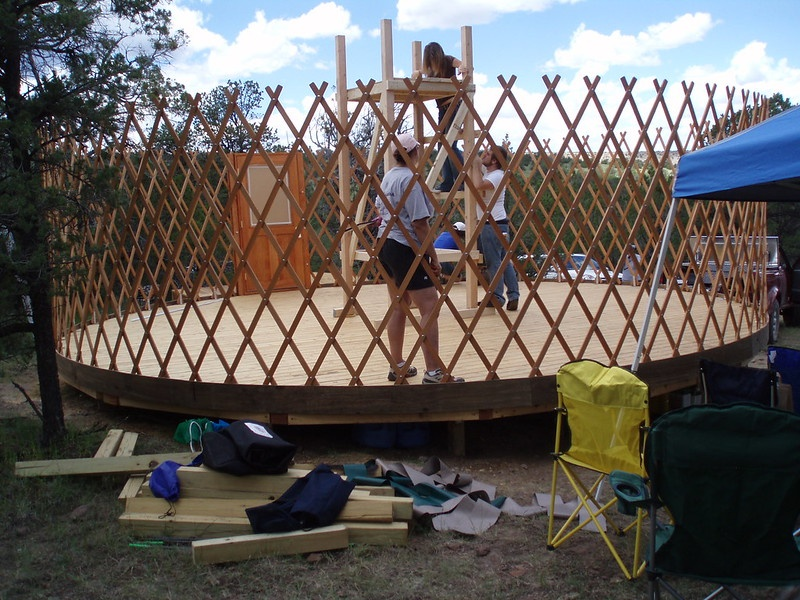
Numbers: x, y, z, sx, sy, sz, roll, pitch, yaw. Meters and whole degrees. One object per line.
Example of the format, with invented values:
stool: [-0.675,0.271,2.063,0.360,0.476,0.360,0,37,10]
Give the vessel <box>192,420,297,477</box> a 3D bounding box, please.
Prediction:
vessel: [-0.862,0.855,4.187,0.343,0.145,0.346,3,4,-37]

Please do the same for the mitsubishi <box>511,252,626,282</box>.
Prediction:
mitsubishi: [1.753,-0.363,7.618,0.924,0.379,0.476,-2,9,-1]
